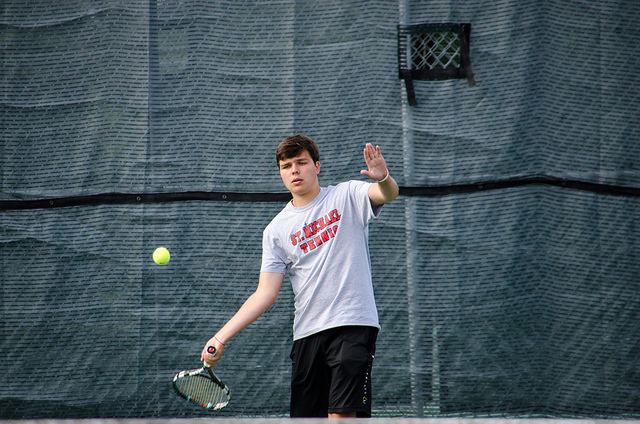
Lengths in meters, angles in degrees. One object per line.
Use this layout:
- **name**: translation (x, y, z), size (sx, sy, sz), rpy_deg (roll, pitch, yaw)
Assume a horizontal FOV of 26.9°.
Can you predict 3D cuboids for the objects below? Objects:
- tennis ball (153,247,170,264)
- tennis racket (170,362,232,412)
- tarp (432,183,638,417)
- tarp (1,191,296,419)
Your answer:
- **tennis ball**: translation (-1.312, 0.389, 11.457), size (0.155, 0.120, 0.126), rpy_deg (3, -36, 8)
- **tennis racket**: translation (-0.866, 1.307, 10.526), size (0.422, 0.119, 0.531), rpy_deg (35, -52, -2)
- **tarp**: translation (1.859, 0.815, 11.435), size (2.719, 0.123, 2.016), rpy_deg (0, -95, -7)
- **tarp**: translation (-1.382, 0.844, 11.378), size (2.657, 0.044, 1.359), rpy_deg (0, -88, 1)
